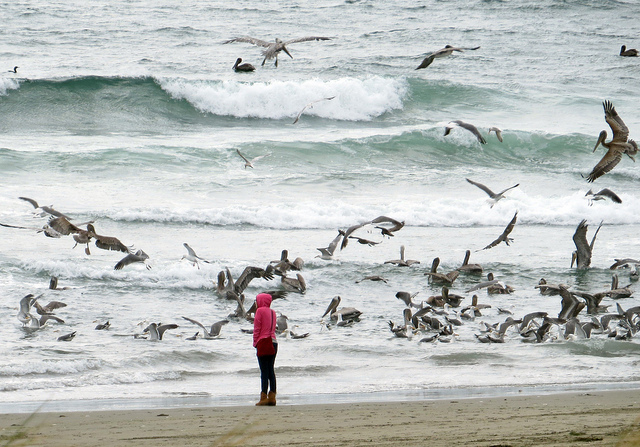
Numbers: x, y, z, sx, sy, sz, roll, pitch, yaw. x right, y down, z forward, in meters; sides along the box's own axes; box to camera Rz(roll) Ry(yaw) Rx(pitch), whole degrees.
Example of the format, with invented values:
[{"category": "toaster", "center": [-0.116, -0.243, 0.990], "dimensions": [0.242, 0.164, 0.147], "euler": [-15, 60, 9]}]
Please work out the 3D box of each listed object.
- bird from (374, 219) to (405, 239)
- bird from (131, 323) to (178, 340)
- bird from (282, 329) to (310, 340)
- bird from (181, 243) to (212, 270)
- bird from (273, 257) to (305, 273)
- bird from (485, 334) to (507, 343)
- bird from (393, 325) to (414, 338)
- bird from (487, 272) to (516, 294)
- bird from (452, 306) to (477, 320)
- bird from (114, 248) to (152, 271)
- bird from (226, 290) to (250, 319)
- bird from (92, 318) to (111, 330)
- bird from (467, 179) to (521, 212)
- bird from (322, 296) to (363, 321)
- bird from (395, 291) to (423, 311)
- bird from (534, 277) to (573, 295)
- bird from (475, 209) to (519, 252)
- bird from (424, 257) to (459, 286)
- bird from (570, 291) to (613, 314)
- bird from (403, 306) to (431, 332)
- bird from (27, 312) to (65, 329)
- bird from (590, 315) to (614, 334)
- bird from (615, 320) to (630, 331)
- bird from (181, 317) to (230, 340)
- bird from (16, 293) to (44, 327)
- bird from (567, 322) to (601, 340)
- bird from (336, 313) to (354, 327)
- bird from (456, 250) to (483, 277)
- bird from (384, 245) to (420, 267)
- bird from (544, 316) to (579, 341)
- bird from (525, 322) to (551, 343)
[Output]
[{"category": "bird", "center": [2.764, 0.275, 50.671], "dimensions": [0.970, 0.508, 0.748], "euler": [-10, 38, -16]}, {"category": "bird", "center": [-6.020, 3.895, 45.698], "dimensions": [0.919, 0.306, 0.906], "euler": [-3, -3, 39]}, {"category": "bird", "center": [-0.861, 3.996, 46.197], "dimensions": [1.125, 0.392, 0.288], "euler": [4, 7, -4]}, {"category": "bird", "center": [-4.863, 1.246, 50.260], "dimensions": [1.112, 0.581, 0.982], "euler": [-2, -8, -15]}, {"category": "bird", "center": [-1.108, 1.608, 49.713], "dimensions": [0.481, 0.409, 1.121], "euler": [-10, -13, 19]}, {"category": "bird", "center": [6.350, 4.160, 45.863], "dimensions": [0.626, 0.184, 0.315], "euler": [11, 20, 35]}, {"category": "bird", "center": [3.060, 3.911, 46.358], "dimensions": [0.724, 0.401, 0.382], "euler": [-3, 13, -3]}, {"category": "bird", "center": [6.946, 2.405, 50.319], "dimensions": [0.761, 0.608, 1.176], "euler": [-14, 16, -40]}, {"category": "bird", "center": [5.547, 3.330, 47.719], "dimensions": [0.658, 0.435, 0.251], "euler": [-9, 14, -26]}, {"category": "bird", "center": [-7.043, 1.346, 47.818], "dimensions": [1.303, 0.488, 0.870], "euler": [-28, 10, -37]}, {"category": "bird", "center": [-3.092, 2.963, 48.005], "dimensions": [0.789, 0.891, 2.356], "euler": [-4, 12, -4]}, {"category": "bird", "center": [-8.002, 3.698, 46.562], "dimensions": [0.705, 0.365, 0.275], "euler": [4, 0, 37]}, {"category": "bird", "center": [6.797, -1.101, 51.158], "dimensions": [2.565, 0.593, 1.152], "euler": [19, 18, -38]}, {"category": "bird", "center": [0.786, 3.170, 47.563], "dimensions": [1.480, 0.856, 0.630], "euler": [5, 15, 31]}, {"category": "bird", "center": [3.369, 2.886, 48.345], "dimensions": [0.689, 1.176, 0.413], "euler": [-19, 0, -19]}, {"category": "bird", "center": [8.757, 2.434, 49.001], "dimensions": [0.836, 0.390, 0.996], "euler": [2, -14, -18]}, {"category": "bird", "center": [7.040, 0.332, 50.189], "dimensions": [1.683, 1.335, 1.154], "euler": [-2, 8, 12]}, {"category": "bird", "center": [4.822, 1.942, 51.219], "dimensions": [1.173, 0.983, 0.824], "euler": [8, 17, 41]}, {"category": "bird", "center": [10.048, 2.898, 47.013], "dimensions": [1.748, 0.617, 0.895], "euler": [2, 9, 13]}, {"category": "bird", "center": [3.458, 3.483, 46.872], "dimensions": [0.695, 0.747, 1.344], "euler": [2, 13, 20]}, {"category": "bird", "center": [-9.973, 3.482, 46.343], "dimensions": [1.152, 0.519, 0.461], "euler": [-7, 13, -18]}, {"category": "bird", "center": [10.126, 3.620, 45.978], "dimensions": [0.331, 0.613, 0.646], "euler": [3, -9, -11]}, {"category": "bird", "center": [10.870, 3.681, 45.975], "dimensions": [0.438, 0.333, 0.386], "euler": [-1, -3, -4]}, {"category": "bird", "center": [-4.006, 3.877, 46.018], "dimensions": [1.421, 0.475, 1.028], "euler": [-3, 0, 29]}, {"category": "bird", "center": [-10.681, 3.141, 46.610], "dimensions": [1.137, 0.720, 1.350], "euler": [6, 0, -3]}, {"category": "bird", "center": [9.424, 3.814, 45.734], "dimensions": [1.254, 0.532, 0.451], "euler": [-3, 13, -1]}, {"category": "bird", "center": [0.895, 3.617, 47.362], "dimensions": [0.402, 0.493, 0.595], "euler": [1, -14, -30]}, {"category": "bird", "center": [6.068, 1.621, 51.908], "dimensions": [1.006, 1.039, 0.601], "euler": [-2, 14, 5]}, {"category": "bird", "center": [3.378, 1.279, 52.209], "dimensions": [1.221, 0.510, 0.991], "euler": [0, 18, -1]}, {"category": "bird", "center": [8.636, 3.810, 46.075], "dimensions": [1.224, 0.657, 0.749], "euler": [4, -9, -6]}, {"category": "bird", "center": [7.995, 3.891, 45.924], "dimensions": [1.100, 0.563, 0.451], "euler": [11, 21, 24]}]
